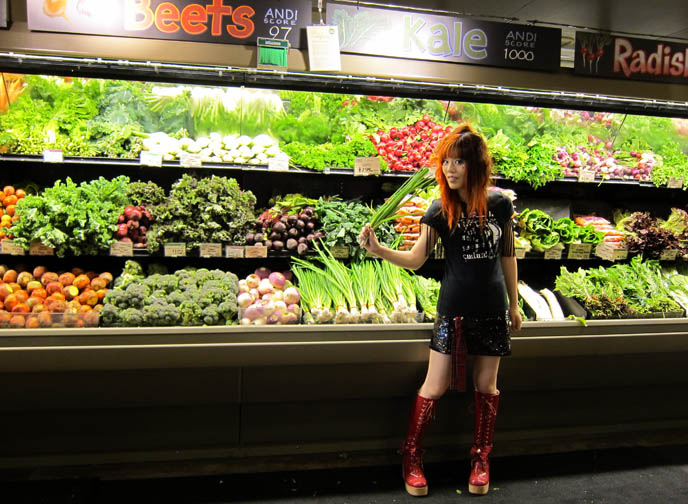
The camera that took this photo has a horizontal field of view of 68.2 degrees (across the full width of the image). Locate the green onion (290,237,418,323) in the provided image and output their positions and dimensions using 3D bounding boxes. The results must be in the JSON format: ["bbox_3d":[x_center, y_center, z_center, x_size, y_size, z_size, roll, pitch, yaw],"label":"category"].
[{"bbox_3d":[0.085,0.104,3.870,0.783,0.630,0.688,0,11,-11],"label":"green onion"}]

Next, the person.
[{"bbox_3d":[0.740,0.388,3.333,0.925,2.381,0.544,1,13,-1],"label":"person"}]

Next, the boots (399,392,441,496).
[{"bbox_3d":[0.468,1.293,3.369,0.228,0.529,0.432,3,7,0],"label":"boots"}]

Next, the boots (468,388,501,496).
[{"bbox_3d":[0.918,1.273,3.420,0.224,0.652,0.204,1,11,6],"label":"boots"}]

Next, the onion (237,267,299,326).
[{"bbox_3d":[-0.556,0.327,3.724,0.431,0.344,0.383,-3,15,-19],"label":"onion"}]
